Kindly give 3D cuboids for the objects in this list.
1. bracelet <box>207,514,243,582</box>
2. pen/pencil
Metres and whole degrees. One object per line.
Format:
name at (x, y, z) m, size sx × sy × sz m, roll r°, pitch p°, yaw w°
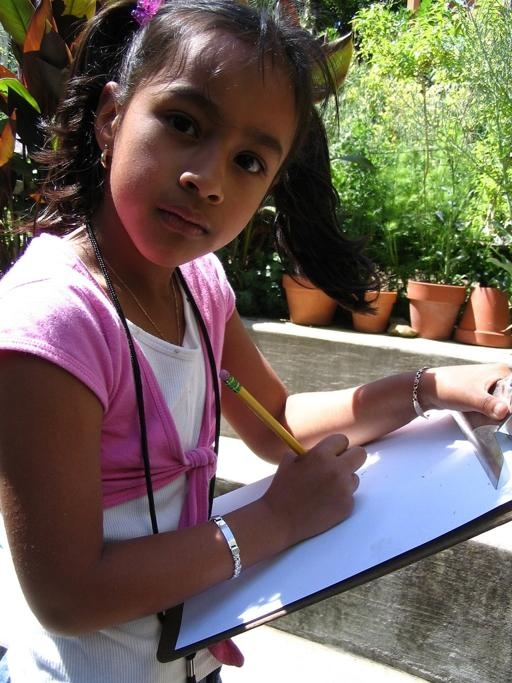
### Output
bracelet at (-0.029, 0.209, 0.577) m, size 0.016 × 0.037 × 0.053 m, roll -19°, pitch 35°, yaw -15°
pen/pencil at (0.015, 0.098, 0.796) m, size 0.028 × 0.027 × 0.231 m, roll -43°, pitch 39°, yaw -8°
